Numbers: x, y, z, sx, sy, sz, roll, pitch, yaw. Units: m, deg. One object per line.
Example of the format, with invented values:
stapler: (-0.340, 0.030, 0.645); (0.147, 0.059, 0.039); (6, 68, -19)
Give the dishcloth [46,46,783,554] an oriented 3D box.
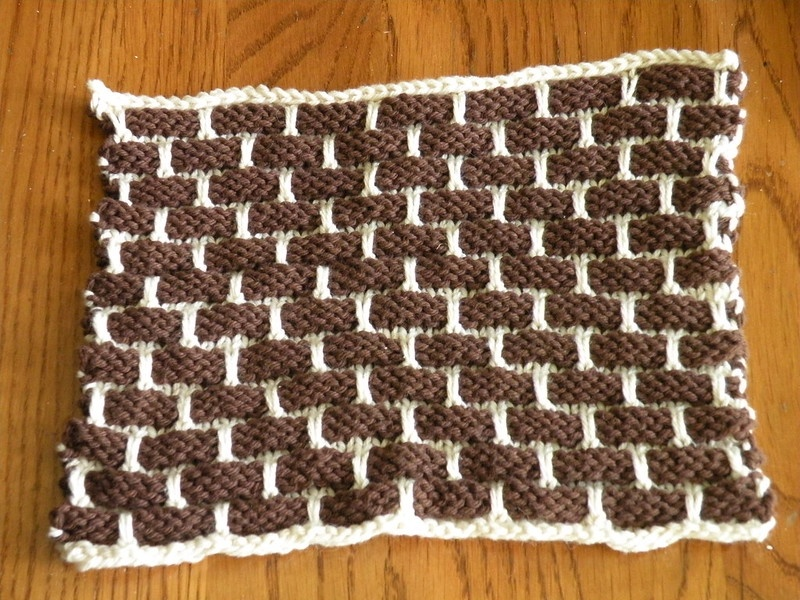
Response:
dishcloth: (0.012, 0.003, 1.728); (1.180, 0.048, 0.837); (-2, 82, 2)
